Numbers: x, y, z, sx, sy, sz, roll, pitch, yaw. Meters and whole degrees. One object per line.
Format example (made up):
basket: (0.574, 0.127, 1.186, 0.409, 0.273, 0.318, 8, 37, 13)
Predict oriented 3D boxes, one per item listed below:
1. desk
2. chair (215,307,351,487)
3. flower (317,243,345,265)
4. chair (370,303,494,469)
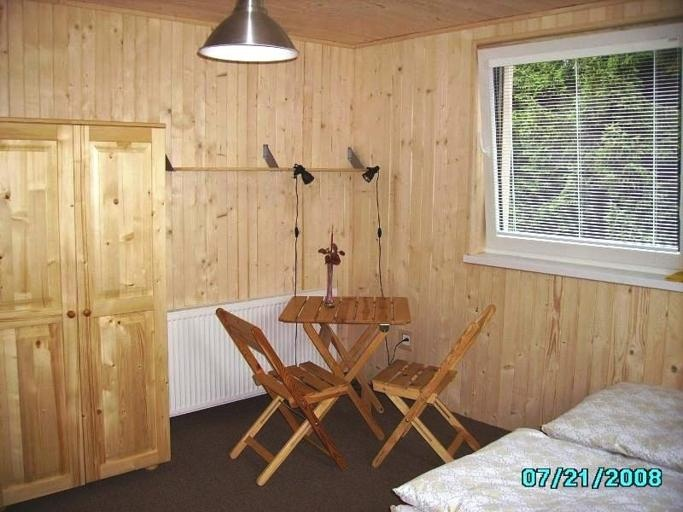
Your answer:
desk: (0.041, 0.751, 4.195, 1.065, 1.043, 0.760, -2, 12, -4)
chair: (-0.386, 0.885, 3.636, 0.742, 1.068, 0.598, -2, 8, -31)
flower: (-0.069, -0.021, 4.140, 0.180, 0.190, 0.075, 4, -16, 4)
chair: (0.643, 0.856, 3.707, 0.724, 1.091, 0.559, 3, 7, 25)
